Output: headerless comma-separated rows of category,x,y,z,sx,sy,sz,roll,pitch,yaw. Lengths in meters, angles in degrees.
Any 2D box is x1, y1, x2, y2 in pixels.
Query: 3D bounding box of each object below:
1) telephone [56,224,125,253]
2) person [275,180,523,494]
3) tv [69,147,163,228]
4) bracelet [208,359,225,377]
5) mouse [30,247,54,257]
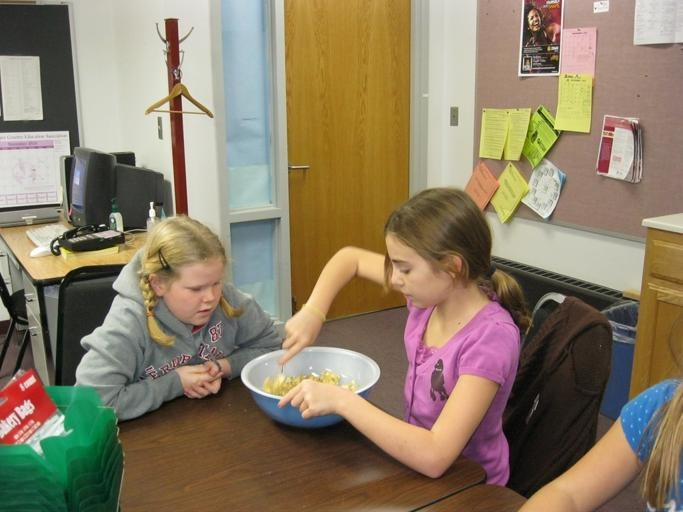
telephone,-1.310,-0.080,2.748,0.237,0.084,0.184,-16,19,-27
person,0.082,0.203,1.578,0.677,1.079,0.742,-4,18,-10
tv,-1.399,-0.352,3.315,0.440,0.485,0.615,-2,8,-31
bracelet,-0.345,0.315,1.482,0.037,0.018,0.048,15,7,32
mouse,-1.531,-0.019,2.713,0.085,0.031,0.048,-2,8,-28
